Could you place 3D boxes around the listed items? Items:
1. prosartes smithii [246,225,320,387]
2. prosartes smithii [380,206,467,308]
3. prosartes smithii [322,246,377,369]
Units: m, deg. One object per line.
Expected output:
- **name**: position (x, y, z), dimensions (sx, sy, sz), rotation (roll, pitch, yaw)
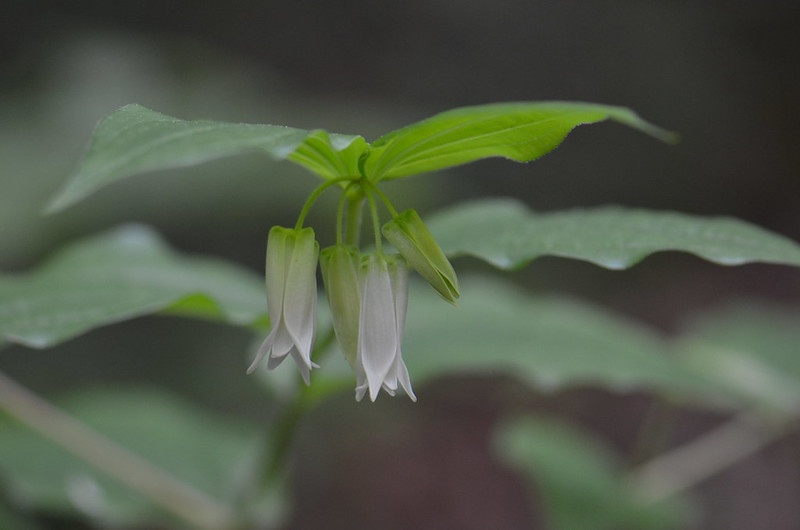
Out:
- **prosartes smithii**: position (-0.164, 0.064, 1.253), dimensions (0.094, 0.225, 0.116), rotation (6, -11, -6)
- **prosartes smithii**: position (0.036, -0.013, 1.260), dimensions (0.188, 0.067, 0.055), rotation (51, -5, 4)
- **prosartes smithii**: position (-0.088, 0.061, 1.217), dimensions (0.071, 0.179, 0.032), rotation (6, -11, -6)
